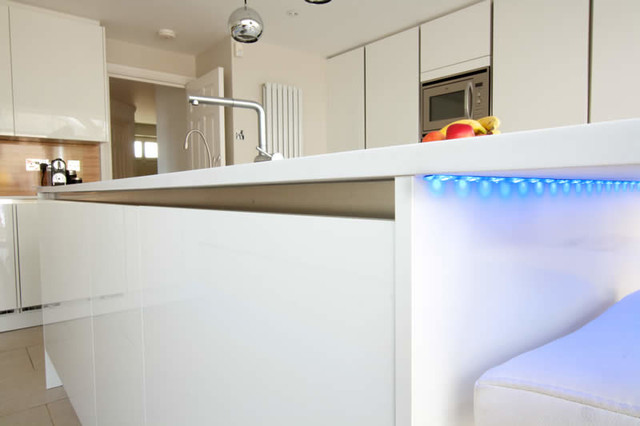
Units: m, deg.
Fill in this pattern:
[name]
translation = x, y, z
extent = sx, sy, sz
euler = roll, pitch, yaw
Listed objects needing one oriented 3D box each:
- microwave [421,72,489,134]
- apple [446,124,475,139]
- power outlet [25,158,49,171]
[microwave]
translation = 1.322, -0.964, 4.227
extent = 0.447, 0.528, 0.762
euler = -6, 6, -29
[apple]
translation = 0.371, -0.221, 1.247
extent = 0.067, 0.038, 0.054
euler = 1, 3, 17
[power outlet]
translation = -2.589, -0.444, 4.269
extent = 0.189, 0.115, 0.049
euler = -2, 4, -32
